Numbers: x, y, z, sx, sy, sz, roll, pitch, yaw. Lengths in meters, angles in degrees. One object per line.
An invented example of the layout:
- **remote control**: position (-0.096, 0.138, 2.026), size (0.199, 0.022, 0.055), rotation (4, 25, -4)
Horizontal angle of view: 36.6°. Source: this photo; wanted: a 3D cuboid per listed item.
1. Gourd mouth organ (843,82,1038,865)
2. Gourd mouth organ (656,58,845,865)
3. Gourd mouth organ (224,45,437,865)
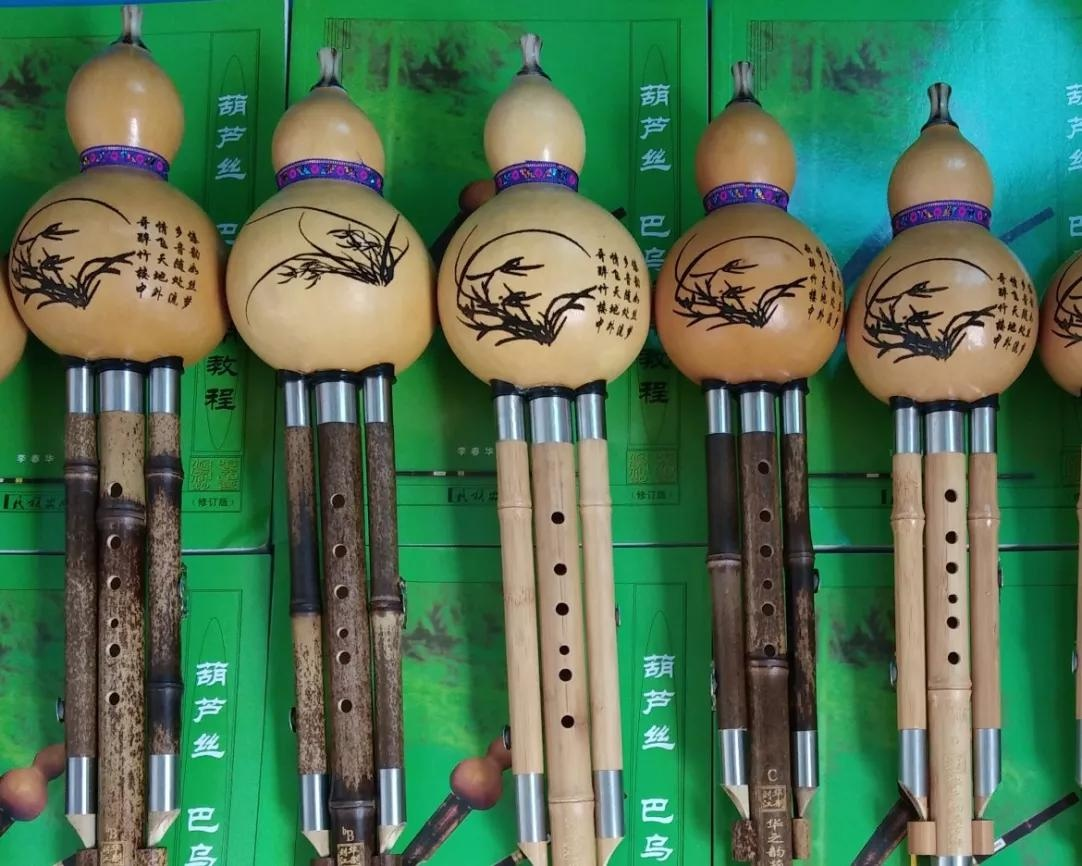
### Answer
- **Gourd mouth organ**: position (0.583, 0.051, 2.407), size (0.271, 1.066, 0.412), rotation (1, -26, -3)
- **Gourd mouth organ**: position (0.300, 0.057, 2.361), size (0.271, 1.026, 0.382), rotation (1, -26, -2)
- **Gourd mouth organ**: position (-0.279, 0.018, 2.347), size (0.281, 1.101, 0.412), rotation (-6, -26, 12)
